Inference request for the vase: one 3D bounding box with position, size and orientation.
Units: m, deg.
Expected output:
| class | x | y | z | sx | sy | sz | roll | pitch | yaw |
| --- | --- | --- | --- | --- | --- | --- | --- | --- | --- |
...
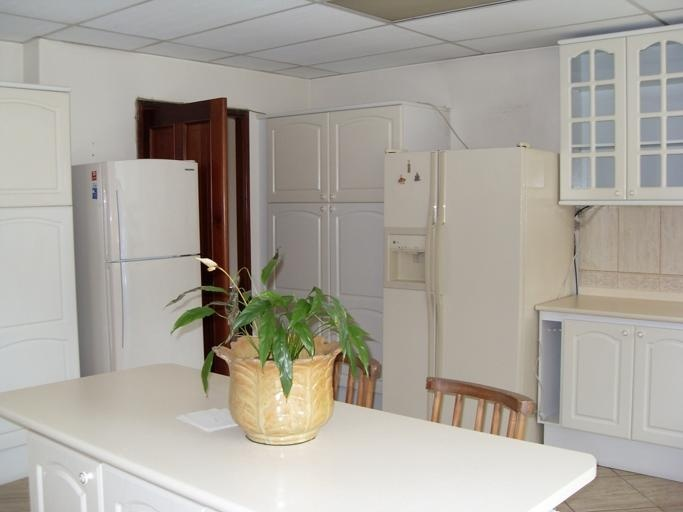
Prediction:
| class | x | y | z | sx | sy | sz | roll | pitch | yaw |
| --- | --- | --- | --- | --- | --- | --- | --- | --- | --- |
| vase | -0.185 | 0.394 | 1.662 | 0.321 | 0.240 | 0.318 | 0 | -5 | -7 |
